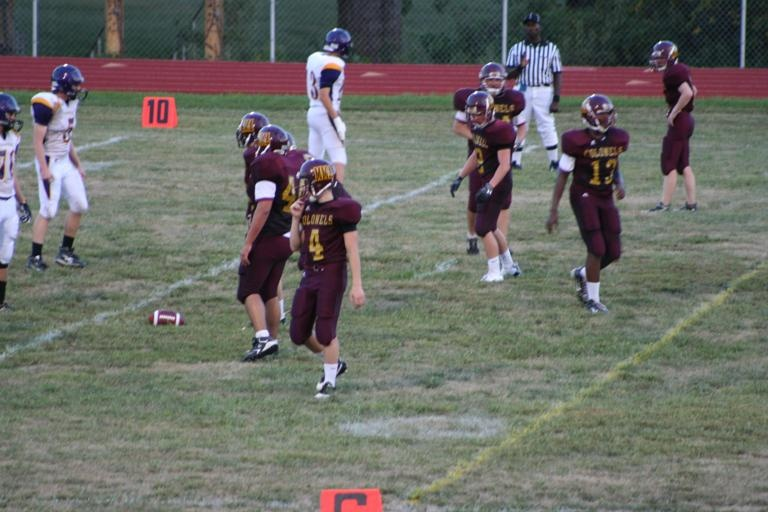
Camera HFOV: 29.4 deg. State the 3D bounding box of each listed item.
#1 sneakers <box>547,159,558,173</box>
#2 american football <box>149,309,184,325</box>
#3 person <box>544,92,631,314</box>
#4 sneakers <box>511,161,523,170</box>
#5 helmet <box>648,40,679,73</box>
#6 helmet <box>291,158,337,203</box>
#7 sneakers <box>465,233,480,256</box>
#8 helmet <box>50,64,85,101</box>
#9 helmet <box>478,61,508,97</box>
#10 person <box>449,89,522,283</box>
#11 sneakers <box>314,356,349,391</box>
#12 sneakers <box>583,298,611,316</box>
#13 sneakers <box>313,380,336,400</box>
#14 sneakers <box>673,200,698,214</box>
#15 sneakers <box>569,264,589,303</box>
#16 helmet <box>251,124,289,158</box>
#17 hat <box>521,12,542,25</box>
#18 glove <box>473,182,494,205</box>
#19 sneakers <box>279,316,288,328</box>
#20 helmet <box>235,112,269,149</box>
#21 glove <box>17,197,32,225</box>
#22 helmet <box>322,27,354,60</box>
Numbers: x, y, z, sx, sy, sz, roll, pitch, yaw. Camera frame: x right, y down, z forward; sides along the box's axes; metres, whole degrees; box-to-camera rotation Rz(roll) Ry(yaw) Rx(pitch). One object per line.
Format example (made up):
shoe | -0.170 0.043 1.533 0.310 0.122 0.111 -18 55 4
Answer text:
sneakers | 2.530 -1.371 22.148 0.117 0.161 0.173 -3 -4 34
american football | -2.468 0.668 16.491 0.302 0.135 0.180 4 10 0
person | 2.321 -0.607 16.758 0.833 2.442 0.455 1 10 5
sneakers | 1.881 -1.322 21.191 0.116 0.114 0.237 5 13 5
helmet | 3.784 -2.733 19.967 0.330 0.392 0.442 3 10 13
helmet | -0.728 -0.795 15.164 0.480 0.401 0.352 1 13 -5
sneakers | 1.091 -0.152 18.408 0.117 0.198 0.309 2 14 3
helmet | -3.821 -2.119 17.743 0.515 0.430 0.386 1 20 -8
helmet | 1.315 -2.235 18.106 0.340 0.329 0.403 -1 22 0
person | 1.272 -0.848 17.530 0.683 2.261 0.690 -1 10 -5
sneakers | -0.593 1.249 15.426 0.166 0.467 0.208 24 3 19
sneakers | 2.405 0.578 16.801 0.153 0.076 0.218 13 9 -23
sneakers | -0.628 1.394 15.264 0.224 0.196 0.133 -1 1 5
sneakers | 4.089 -0.684 19.986 0.337 0.132 0.116 9 15 39
sneakers | 2.251 0.312 17.067 0.146 0.395 0.180 -8 6 13
helmet | -1.226 -1.249 15.886 0.392 0.313 0.286 7 12 1
hat | 2.204 -3.578 22.167 0.294 0.203 0.395 5 11 22
glove | 1.163 -0.769 17.275 0.098 0.164 0.237 35 38 21
sneakers | -1.157 0.739 16.646 0.119 0.141 0.083 1 -7 -9
helmet | -1.470 -1.403 16.114 0.430 0.354 0.320 -20 19 2
glove | -4.441 -0.543 18.022 0.132 0.333 0.255 -7 -11 -37
helmet | -0.580 -2.810 19.129 0.464 0.389 0.368 -8 43 -21
